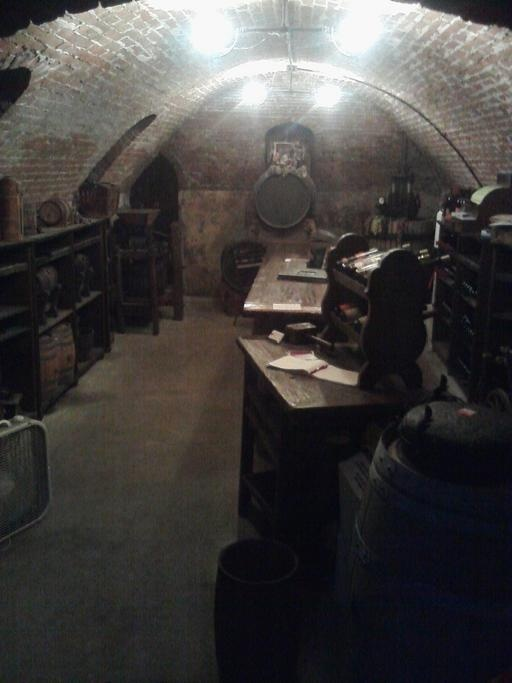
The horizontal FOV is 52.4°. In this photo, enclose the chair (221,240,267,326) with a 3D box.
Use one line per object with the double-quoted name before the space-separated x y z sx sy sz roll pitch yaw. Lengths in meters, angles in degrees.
"chair" -0.184 -1.000 8.849 0.830 1.395 1.204 3 -5 22
